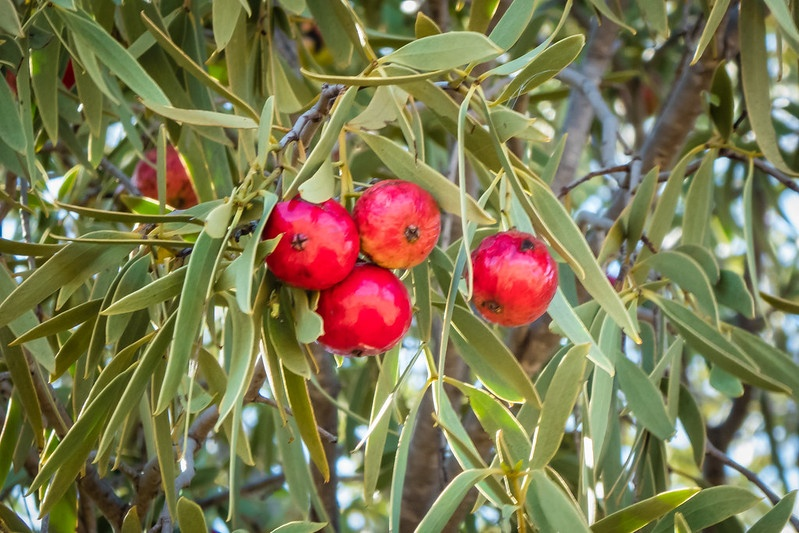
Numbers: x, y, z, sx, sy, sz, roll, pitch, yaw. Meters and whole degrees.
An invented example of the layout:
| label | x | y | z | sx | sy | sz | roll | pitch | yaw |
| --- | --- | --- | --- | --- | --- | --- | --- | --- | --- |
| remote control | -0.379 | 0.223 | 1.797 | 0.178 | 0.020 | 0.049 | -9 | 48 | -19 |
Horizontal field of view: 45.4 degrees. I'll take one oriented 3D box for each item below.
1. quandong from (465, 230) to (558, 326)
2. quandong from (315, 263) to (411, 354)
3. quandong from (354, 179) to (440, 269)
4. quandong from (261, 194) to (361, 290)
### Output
| label | x | y | z | sx | sy | sz | roll | pitch | yaw |
| --- | --- | --- | --- | --- | --- | --- | --- | --- | --- |
| quandong | 0.230 | 0.020 | 1.940 | 0.170 | 0.074 | 0.190 | -2 | 78 | 1 |
| quandong | -0.070 | 0.084 | 1.895 | 0.184 | 0.118 | 0.176 | 1 | 77 | 1 |
| quandong | -0.008 | -0.088 | 1.892 | 0.170 | 0.061 | 0.171 | -2 | 78 | 0 |
| quandong | -0.175 | -0.047 | 1.839 | 0.183 | 0.057 | 0.171 | 6 | 78 | 2 |
